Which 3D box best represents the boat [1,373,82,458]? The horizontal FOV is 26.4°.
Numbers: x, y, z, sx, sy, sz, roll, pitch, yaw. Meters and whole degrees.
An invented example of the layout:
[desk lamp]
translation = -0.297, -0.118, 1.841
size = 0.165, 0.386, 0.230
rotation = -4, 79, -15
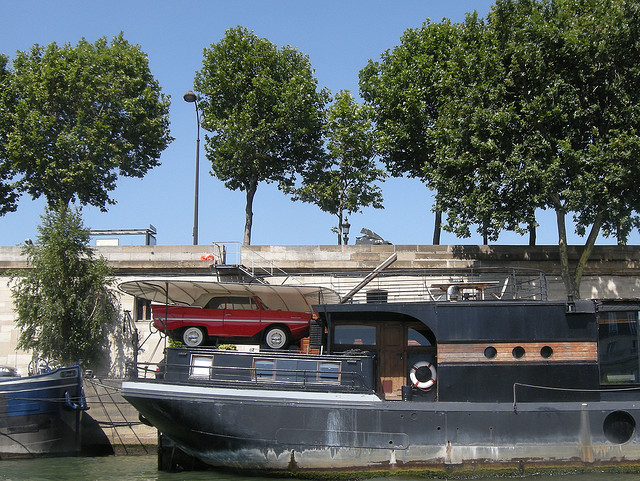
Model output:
[boat]
translation = -11.541, 7.358, 57.417
size = 2.826, 3.513, 3.262
rotation = -2, 0, 6
